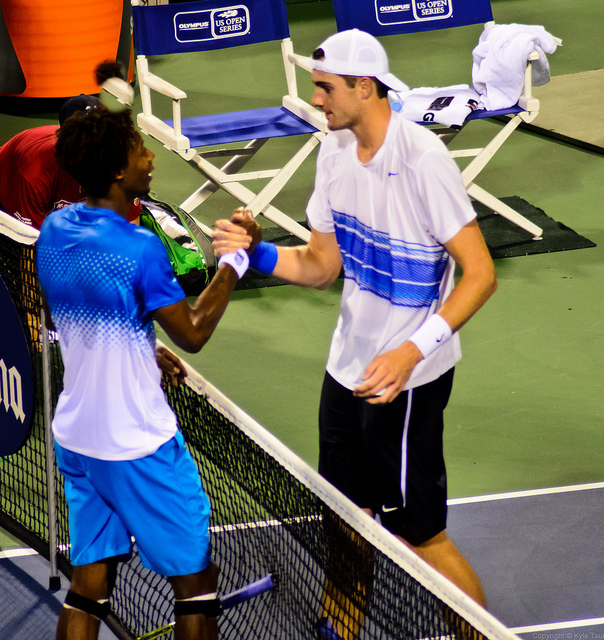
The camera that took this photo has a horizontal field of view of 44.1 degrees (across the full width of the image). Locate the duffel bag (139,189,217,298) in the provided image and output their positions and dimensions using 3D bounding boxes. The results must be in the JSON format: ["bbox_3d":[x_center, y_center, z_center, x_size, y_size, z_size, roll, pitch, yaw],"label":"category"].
[{"bbox_3d":[-0.851,-0.486,5.257,0.479,0.709,0.705,-6,23,-9],"label":"duffel bag"}]

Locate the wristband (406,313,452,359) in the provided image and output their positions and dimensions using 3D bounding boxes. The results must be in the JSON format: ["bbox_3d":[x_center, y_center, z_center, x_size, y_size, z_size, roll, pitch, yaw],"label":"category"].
[{"bbox_3d":[0.327,0.040,1.916,0.111,0.030,0.092,-37,72,0],"label":"wristband"}]

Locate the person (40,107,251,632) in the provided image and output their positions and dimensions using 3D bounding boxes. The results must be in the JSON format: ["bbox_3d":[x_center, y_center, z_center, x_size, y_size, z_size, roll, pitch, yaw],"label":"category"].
[{"bbox_3d":[-0.428,0.167,1.893,0.507,1.308,0.473,-3,23,-2],"label":"person"}]
